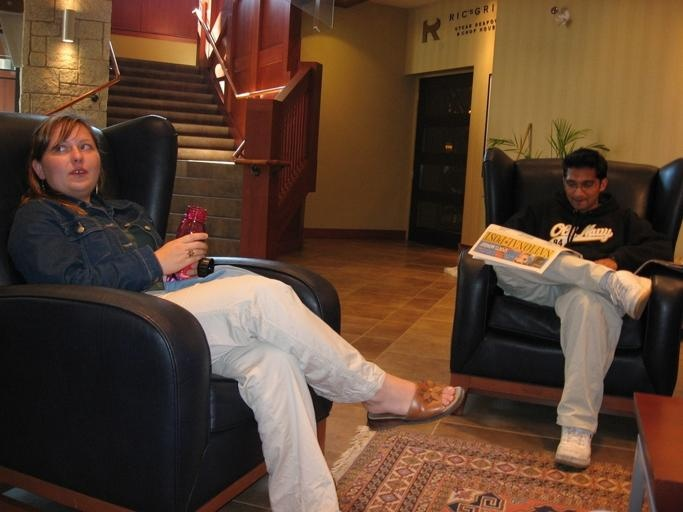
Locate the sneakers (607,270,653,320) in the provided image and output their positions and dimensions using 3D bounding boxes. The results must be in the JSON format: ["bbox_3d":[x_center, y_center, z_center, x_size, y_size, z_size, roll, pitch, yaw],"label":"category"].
[{"bbox_3d":[1.120,0.155,2.113,0.181,0.183,0.072,5,-25,-33],"label":"sneakers"}]

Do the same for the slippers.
[{"bbox_3d":[0.247,0.514,1.742,0.266,0.090,0.141,-14,13,7],"label":"slippers"}]

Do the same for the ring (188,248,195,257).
[{"bbox_3d":[-0.466,-0.009,1.635,0.020,0.020,0.005,-2,15,-33],"label":"ring"}]
